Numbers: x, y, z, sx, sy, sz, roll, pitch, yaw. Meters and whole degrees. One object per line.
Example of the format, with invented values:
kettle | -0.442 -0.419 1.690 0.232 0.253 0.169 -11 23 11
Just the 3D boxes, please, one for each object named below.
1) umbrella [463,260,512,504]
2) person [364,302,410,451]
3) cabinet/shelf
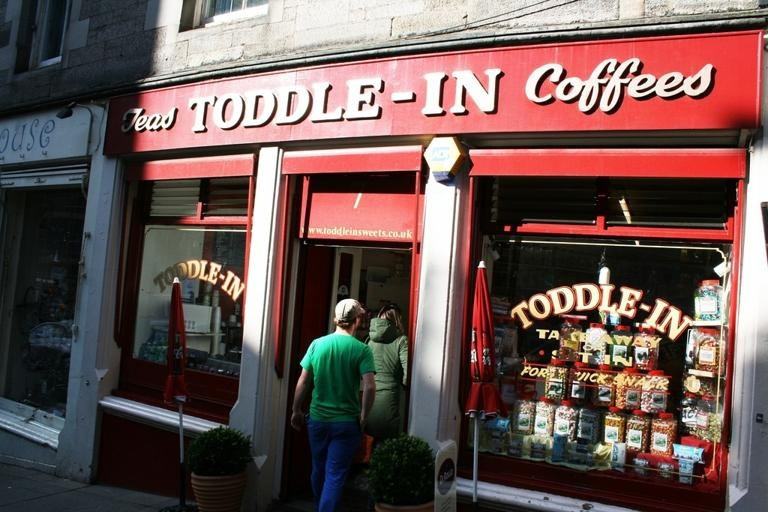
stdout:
umbrella | 0.984 1.367 6.695 0.530 2.589 0.543 2 1 -6
person | 0.062 1.435 8.103 0.571 1.548 0.572 3 -1 9
cabinet/shelf | 3.243 1.329 6.609 0.380 1.283 0.114 2 -8 33
